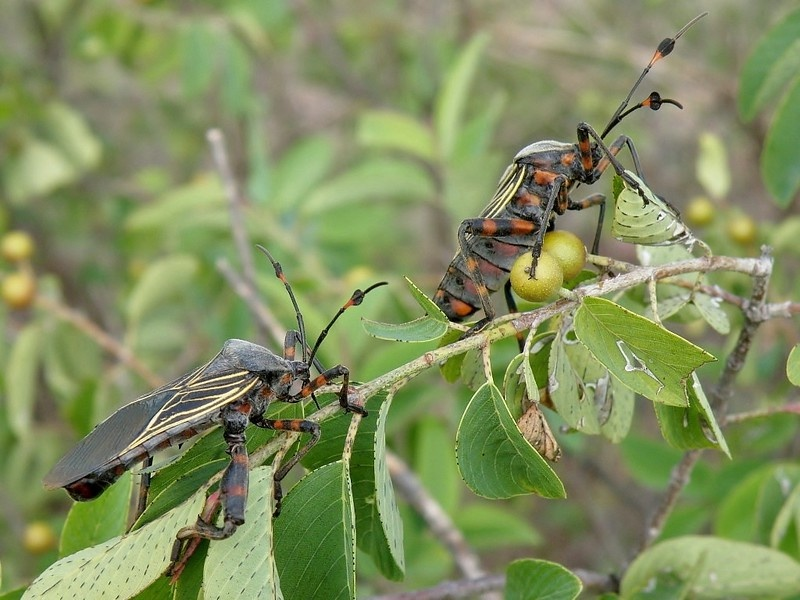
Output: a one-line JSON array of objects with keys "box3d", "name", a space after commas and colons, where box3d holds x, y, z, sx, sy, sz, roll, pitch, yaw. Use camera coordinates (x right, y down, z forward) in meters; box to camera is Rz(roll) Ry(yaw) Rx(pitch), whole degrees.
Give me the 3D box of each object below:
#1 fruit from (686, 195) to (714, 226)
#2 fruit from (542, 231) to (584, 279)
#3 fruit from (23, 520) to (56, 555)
[{"box3d": [1.811, -0.549, 5.684, 0.145, 0.195, 0.157, 1, 11, 8], "name": "fruit"}, {"box3d": [0.661, -0.225, 3.758, 0.120, 0.151, 0.134, 8, 55, 30], "name": "fruit"}, {"box3d": [-2.133, 1.379, 5.553, 0.162, 0.218, 0.175, 0, 5, 7], "name": "fruit"}]
